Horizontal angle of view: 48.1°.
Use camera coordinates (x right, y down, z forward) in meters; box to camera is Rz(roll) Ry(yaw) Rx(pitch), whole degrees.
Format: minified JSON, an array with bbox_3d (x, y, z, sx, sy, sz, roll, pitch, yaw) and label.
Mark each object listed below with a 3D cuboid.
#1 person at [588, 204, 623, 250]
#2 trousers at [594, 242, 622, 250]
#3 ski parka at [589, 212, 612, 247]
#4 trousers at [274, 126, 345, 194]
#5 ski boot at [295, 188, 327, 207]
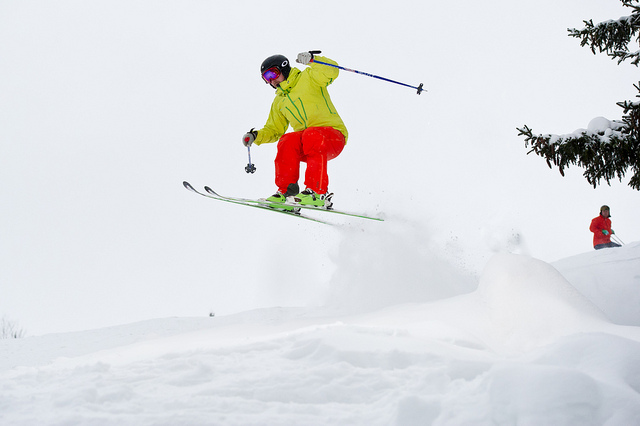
[{"bbox_3d":[5.867,0.543,14.659,0.542,1.354,0.557,-5,-1,12],"label":"person"},{"bbox_3d":[5.826,0.657,14.513,0.537,0.143,0.382,-6,-1,4],"label":"trousers"},{"bbox_3d":[5.767,0.338,14.658,0.391,0.727,0.315,-6,-1,21],"label":"ski parka"},{"bbox_3d":[-0.141,-0.786,11.060,1.175,1.143,1.128,-3,-4,-8],"label":"trousers"},{"bbox_3d":[-0.123,-0.211,10.626,0.500,0.227,0.178,10,-7,-31],"label":"ski boot"}]
